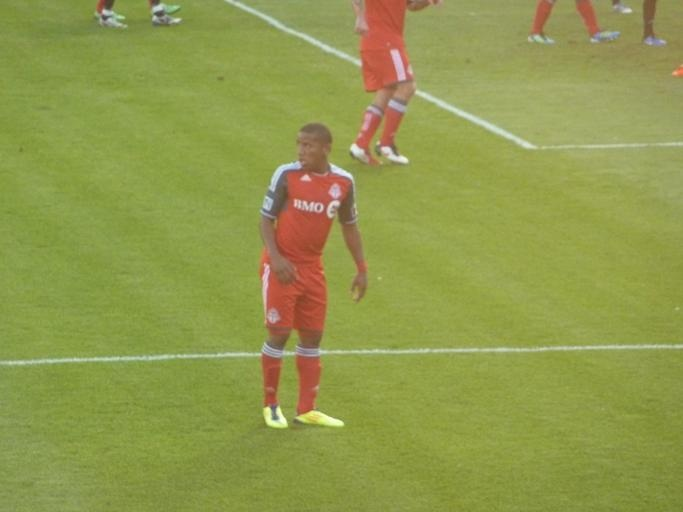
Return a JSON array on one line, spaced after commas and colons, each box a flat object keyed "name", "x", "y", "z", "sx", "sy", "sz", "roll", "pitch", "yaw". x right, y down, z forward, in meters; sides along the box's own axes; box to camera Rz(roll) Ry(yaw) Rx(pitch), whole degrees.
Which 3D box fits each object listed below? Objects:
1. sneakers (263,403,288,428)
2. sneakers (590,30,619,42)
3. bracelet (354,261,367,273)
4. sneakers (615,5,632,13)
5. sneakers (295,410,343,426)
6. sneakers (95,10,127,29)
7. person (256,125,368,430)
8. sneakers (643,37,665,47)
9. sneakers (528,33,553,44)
[{"name": "sneakers", "x": -0.452, "y": 1.129, "z": 8.433, "sx": 0.107, "sy": 0.079, "sz": 0.197, "roll": -13, "pitch": 30, "yaw": -25}, {"name": "sneakers", "x": 2.980, "y": -2.460, "z": 13.772, "sx": 0.342, "sy": 0.136, "sz": 0.118, "roll": -6, "pitch": 30, "yaw": 15}, {"name": "bracelet", "x": 0.147, "y": 0.091, "z": 8.672, "sx": 0.074, "sy": 0.058, "sz": 0.074, "roll": 0, "pitch": 13, "yaw": -2}, {"name": "sneakers", "x": 3.483, "y": -3.016, "z": 14.973, "sx": 0.196, "sy": 0.077, "sz": 0.121, "roll": 18, "pitch": 60, "yaw": 26}, {"name": "sneakers", "x": -0.158, "y": 1.148, "z": 8.529, "sx": 0.343, "sy": 0.115, "sz": 0.127, "roll": 3, "pitch": 3, "yaw": 3}, {"name": "sneakers", "x": -2.585, "y": -2.614, "z": 13.555, "sx": 0.407, "sy": 0.274, "sz": 0.138, "roll": 5, "pitch": 68, "yaw": -8}, {"name": "person", "x": -0.193, "y": 0.162, "z": 8.424, "sx": 0.728, "sy": 1.859, "sz": 1.136, "roll": 1, "pitch": 33, "yaw": 1}, {"name": "sneakers", "x": 3.548, "y": -2.404, "z": 13.710, "sx": 0.170, "sy": 0.069, "sz": 0.108, "roll": 3, "pitch": 18, "yaw": 20}, {"name": "sneakers", "x": 2.230, "y": -2.439, "z": 13.690, "sx": 0.310, "sy": 0.133, "sz": 0.108, "roll": -1, "pitch": 22, "yaw": -3}]
